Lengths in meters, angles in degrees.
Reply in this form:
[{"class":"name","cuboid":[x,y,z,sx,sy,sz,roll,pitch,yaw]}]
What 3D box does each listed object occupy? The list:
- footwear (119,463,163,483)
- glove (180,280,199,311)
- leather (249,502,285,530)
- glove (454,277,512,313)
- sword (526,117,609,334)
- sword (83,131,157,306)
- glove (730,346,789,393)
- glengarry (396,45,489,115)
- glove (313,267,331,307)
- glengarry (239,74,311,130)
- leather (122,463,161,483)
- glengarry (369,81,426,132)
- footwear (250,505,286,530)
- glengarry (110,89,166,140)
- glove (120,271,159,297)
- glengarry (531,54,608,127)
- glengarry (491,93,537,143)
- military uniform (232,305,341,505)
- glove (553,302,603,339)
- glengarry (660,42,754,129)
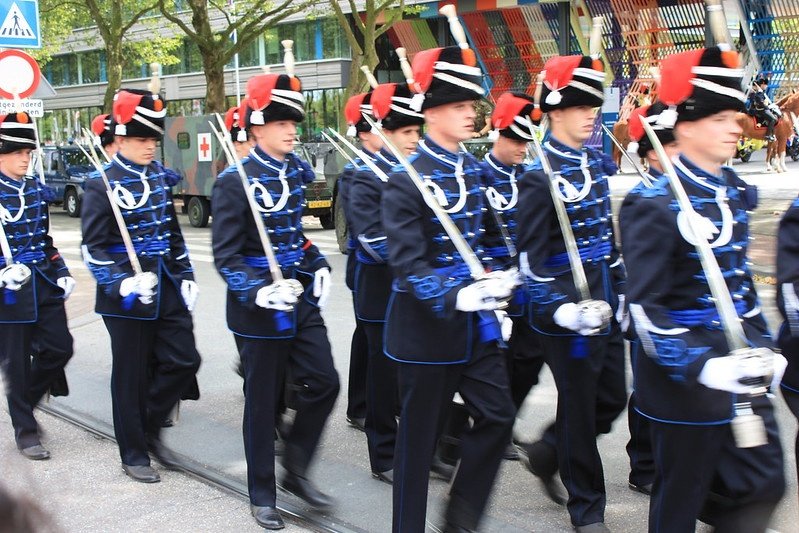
[{"class":"footwear","cuboid":[-1.804,1.430,5.467,0.277,0.062,0.100,2,0,35]},{"class":"glove","cuboid":[-1.530,0.200,5.656,0.069,0.182,0.166,-4,-12,39]},{"class":"leather","cuboid":[-0.803,1.524,4.809,0.103,0.075,0.223,0,2,-44]},{"class":"glove","cuboid":[0.409,0.151,3.843,0.205,0.186,0.172,-11,16,-37]},{"class":"sword","cuboid":[0.936,-0.123,4.642,0.706,0.974,0.281,-4,3,-31]},{"class":"sword","cuboid":[-1.887,-0.271,5.349,0.343,1.048,0.176,-17,-2,-34]},{"class":"glove","cuboid":[1.543,0.440,3.398,0.338,0.199,0.128,-11,17,-39]},{"class":"glengarry","cuboid":[0.202,-0.995,4.327,0.446,0.272,0.347,-16,3,37]},{"class":"glove","cuboid":[-0.518,0.145,5.085,0.152,0.210,0.091,14,-17,-42]},{"class":"glengarry","cuboid":[-0.794,-1.037,4.975,0.451,0.263,0.290,-2,4,21]},{"class":"leather","cuboid":[-1.768,1.422,5.443,0.277,0.062,0.099,1,-1,35]},{"class":"glengarry","cuboid":[-0.057,-1.131,5.598,0.407,0.334,0.511,-5,11,-26]},{"class":"footwear","cuboid":[-0.791,1.521,4.808,0.135,0.113,0.203,-9,14,-30]},{"class":"glengarry","cuboid":[-1.807,-1.113,5.675,0.440,0.278,0.377,21,26,40]},{"class":"glove","cuboid":[-1.737,0.121,5.304,0.235,0.114,0.080,-2,20,-17]},{"class":"glengarry","cuboid":[1.019,-1.079,4.672,0.434,0.305,0.329,13,17,29]},{"class":"glengarry","cuboid":[0.821,-1.043,5.495,0.413,0.295,0.315,6,8,41]},{"class":"military uniform","cuboid":[-0.725,0.755,5.047,0.682,1.503,0.501,-5,8,-13]},{"class":"glove","cuboid":[0.984,0.299,4.430,0.195,0.093,0.249,-8,6,-42]},{"class":"glengarry","cuboid":[1.474,-0.867,3.804,0.416,0.333,0.500,-5,10,-13]}]
